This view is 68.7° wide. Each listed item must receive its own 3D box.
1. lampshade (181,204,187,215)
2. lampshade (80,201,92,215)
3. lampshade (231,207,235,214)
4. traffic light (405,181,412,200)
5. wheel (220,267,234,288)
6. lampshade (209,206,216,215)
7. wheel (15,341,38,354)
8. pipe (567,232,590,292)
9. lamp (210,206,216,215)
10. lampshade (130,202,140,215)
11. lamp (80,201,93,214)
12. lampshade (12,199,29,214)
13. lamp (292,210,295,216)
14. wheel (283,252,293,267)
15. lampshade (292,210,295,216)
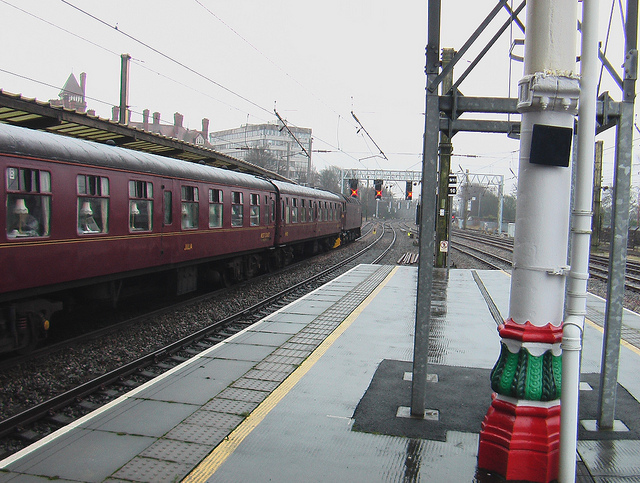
[{"bbox_3d":[-3.505,-0.836,11.967,0.117,0.251,0.160,-2,1,-3],"label":"lampshade"},{"bbox_3d":[-4.514,-0.665,9.032,0.052,0.280,0.297,-6,2,9],"label":"lampshade"},{"bbox_3d":[-2.657,-0.983,14.380,0.108,0.234,0.221,0,6,6],"label":"lampshade"},{"bbox_3d":[8.225,-4.792,43.070,0.575,1.374,4.415,-6,3,12],"label":"traffic light"},{"bbox_3d":[-2.950,1.145,14.740,0.102,0.538,0.494,0,-4,8],"label":"wheel"},{"bbox_3d":[-3.036,-0.907,13.278,0.156,0.196,0.170,1,-1,-9],"label":"lampshade"},{"bbox_3d":[-5.087,1.826,8.097,0.262,0.297,0.062,-16,8,-40],"label":"wheel"},{"bbox_3d":[2.183,0.163,3.913,0.256,0.489,0.127,-7,2,-11],"label":"pipe"},{"bbox_3d":[-3.039,-0.903,13.307,0.150,0.192,0.164,1,0,-9],"label":"lamp"},{"bbox_3d":[-4.078,-0.750,10.292,0.158,0.191,0.161,2,4,18],"label":"lampshade"},{"bbox_3d":[-4.497,-0.657,9.036,0.159,0.204,0.170,5,-4,-16],"label":"lamp"},{"bbox_3d":[-4.990,-0.592,7.817,0.160,0.193,0.175,-2,-6,17],"label":"lampshade"},{"bbox_3d":[-1.116,-1.217,19.755,0.114,0.243,0.116,5,9,41],"label":"lamp"},{"bbox_3d":[-1.368,0.722,20.005,0.405,0.422,0.738,-3,-25,-3],"label":"wheel"},{"bbox_3d":[-1.110,-1.241,19.761,0.135,0.296,0.145,-3,5,-20],"label":"lampshade"}]
